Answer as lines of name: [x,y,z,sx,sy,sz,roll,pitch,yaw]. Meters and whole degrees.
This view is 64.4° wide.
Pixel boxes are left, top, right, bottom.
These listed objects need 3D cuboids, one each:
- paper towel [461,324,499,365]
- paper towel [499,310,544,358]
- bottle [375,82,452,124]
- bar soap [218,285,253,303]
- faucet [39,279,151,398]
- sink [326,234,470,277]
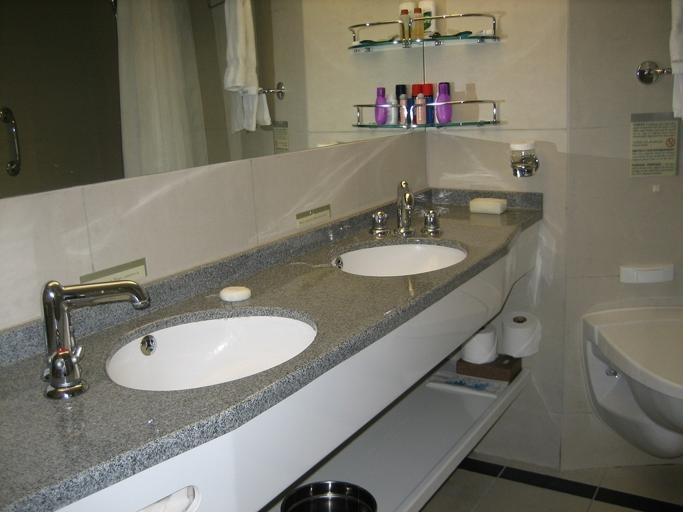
paper towel: [0.604,0.387,2.371,0.165,0.141,0.181,-5,14,6]
paper towel: [0.818,0.357,2.460,0.156,0.155,0.231,8,18,38]
bottle: [0.350,-0.685,2.492,0.378,0.212,0.203,0,18,5]
bar soap: [-0.305,0.106,1.562,0.093,0.031,0.081,0,14,14]
faucet: [-0.523,0.162,1.157,0.215,0.260,0.106,-8,28,-36]
sink: [0.208,0.022,2.036,0.488,0.125,0.179,-5,14,-5]
